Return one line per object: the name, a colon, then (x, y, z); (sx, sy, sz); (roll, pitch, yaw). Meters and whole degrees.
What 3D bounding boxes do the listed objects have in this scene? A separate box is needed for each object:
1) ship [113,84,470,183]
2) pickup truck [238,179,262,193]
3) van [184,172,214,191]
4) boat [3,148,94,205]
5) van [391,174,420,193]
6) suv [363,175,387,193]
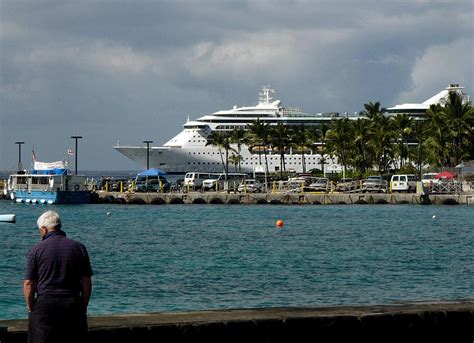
ship: (3.496, -5.075, 120.540); (33.683, 11.170, 25.327); (-1, -2, -6)
pickup truck: (0.972, 1.083, 82.491); (1.593, 1.071, 3.264); (-2, -2, 15)
van: (-3.138, 0.771, 85.801); (2.061, 0.969, 1.290); (-6, 7, -31)
boat: (-13.706, 1.042, 79.182); (9.967, 4.062, 5.369); (0, 3, 44)
van: (12.614, 0.826, 81.165); (1.264, 0.840, 1.831); (2, 5, 33)
suv: (10.531, 0.963, 82.913); (1.858, 1.344, 1.908); (-2, -2, 6)
